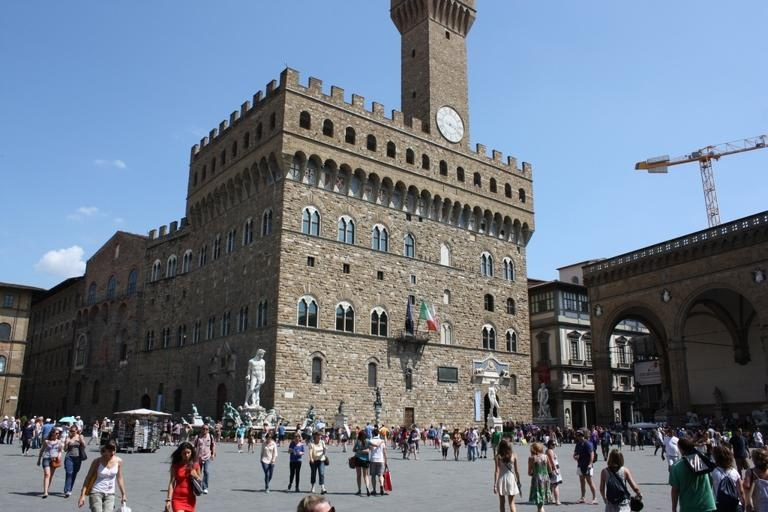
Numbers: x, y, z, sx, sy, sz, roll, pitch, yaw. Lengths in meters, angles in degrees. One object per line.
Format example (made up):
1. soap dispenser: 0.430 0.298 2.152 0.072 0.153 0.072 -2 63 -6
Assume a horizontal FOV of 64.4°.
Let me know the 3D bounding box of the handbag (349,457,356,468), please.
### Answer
1. handbag: -1.044 7.026 20.784 0.229 0.323 0.429 3 -20 -7

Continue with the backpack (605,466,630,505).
1. backpack: 5.617 5.564 14.653 0.633 0.805 0.446 -17 -17 2

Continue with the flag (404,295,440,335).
1. flag: 2.689 4.385 44.216 3.039 3.385 0.252 1 -16 -9

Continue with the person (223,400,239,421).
1. person: -9.570 9.813 38.238 1.283 1.314 1.166 6 1 -23
